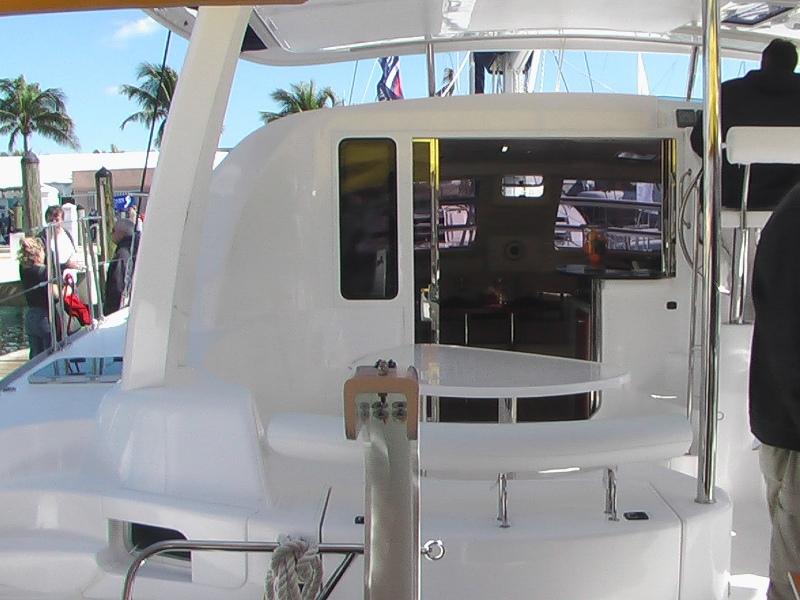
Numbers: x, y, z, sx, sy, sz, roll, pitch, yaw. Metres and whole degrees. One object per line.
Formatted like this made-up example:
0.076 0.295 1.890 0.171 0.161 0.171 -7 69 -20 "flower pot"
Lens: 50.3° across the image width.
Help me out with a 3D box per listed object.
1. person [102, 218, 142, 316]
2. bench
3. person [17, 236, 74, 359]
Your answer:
-2.526 -0.296 7.727 0.312 0.935 1.592 1 3 -19 "person"
0.464 0.822 4.686 2.146 0.500 0.687 2 2 -2 "bench"
-3.068 -0.043 7.272 0.295 1.000 1.463 0 3 -25 "person"
